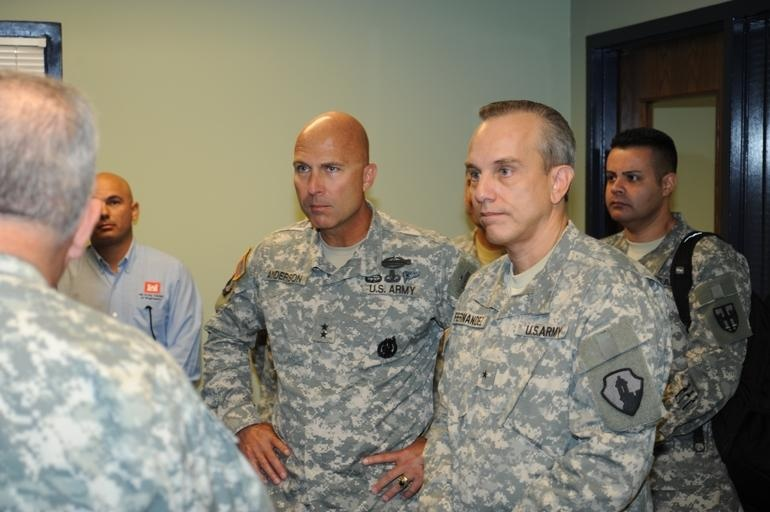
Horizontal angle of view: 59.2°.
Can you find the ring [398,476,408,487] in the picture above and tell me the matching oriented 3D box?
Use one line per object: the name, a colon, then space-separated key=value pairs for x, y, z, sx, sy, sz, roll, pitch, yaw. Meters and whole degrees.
ring: x=0.064 y=0.817 z=2.443 sx=0.033 sy=0.028 sz=0.036 roll=-20 pitch=-10 yaw=-4
